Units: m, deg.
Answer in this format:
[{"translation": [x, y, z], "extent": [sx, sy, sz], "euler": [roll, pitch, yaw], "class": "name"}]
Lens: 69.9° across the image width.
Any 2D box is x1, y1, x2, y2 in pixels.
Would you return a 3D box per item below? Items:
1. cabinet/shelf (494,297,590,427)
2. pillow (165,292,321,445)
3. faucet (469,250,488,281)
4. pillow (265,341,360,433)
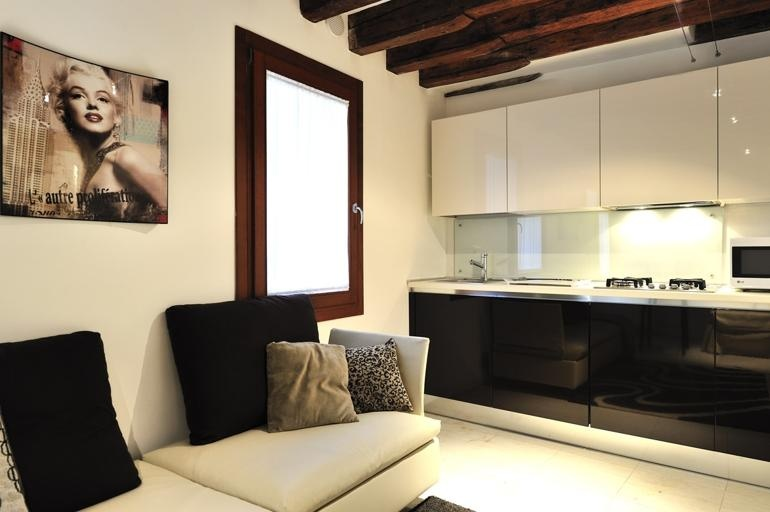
[{"translation": [1.502, 0.819, 4.965], "extent": [0.749, 1.023, 1.496], "euler": [-2, -3, 28], "class": "cabinet/shelf"}, {"translation": [-0.909, 0.730, 3.405], "extent": [0.296, 0.654, 0.862], "euler": [10, 13, 43], "class": "pillow"}, {"translation": [0.916, 0.087, 5.307], "extent": [0.188, 0.263, 0.357], "euler": [0, 0, 8], "class": "faucet"}, {"translation": [-0.463, 0.826, 3.552], "extent": [0.570, 0.532, 0.277], "euler": [4, -8, -26], "class": "pillow"}]
